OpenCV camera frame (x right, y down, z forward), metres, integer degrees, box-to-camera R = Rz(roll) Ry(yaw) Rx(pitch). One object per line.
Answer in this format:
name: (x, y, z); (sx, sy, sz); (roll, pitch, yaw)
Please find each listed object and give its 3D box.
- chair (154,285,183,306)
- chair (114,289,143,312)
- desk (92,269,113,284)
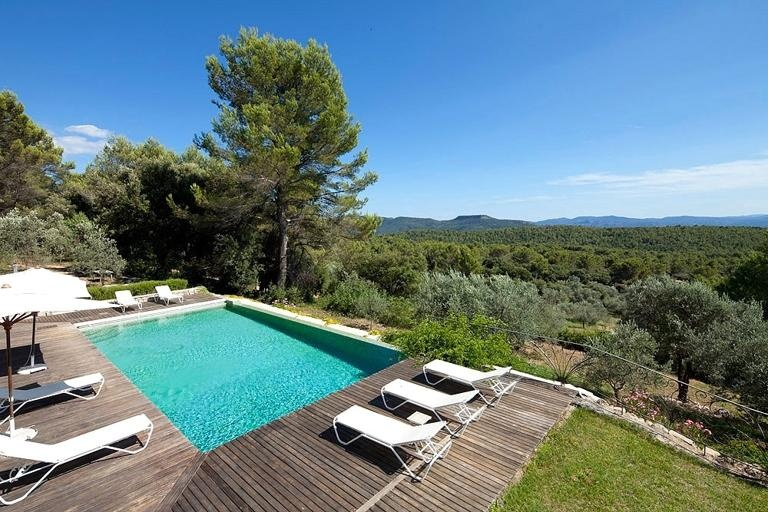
chair: (-11.995, 2.133, 18.821); (2.266, 0.828, 0.876); (17, 16, 31)
chair: (-13.462, 2.251, 17.538); (1.639, 0.686, 0.873); (28, 20, 27)
desk: (-18.568, 1.309, 22.232); (1.036, 0.962, 3.368); (0, 0, -39)
